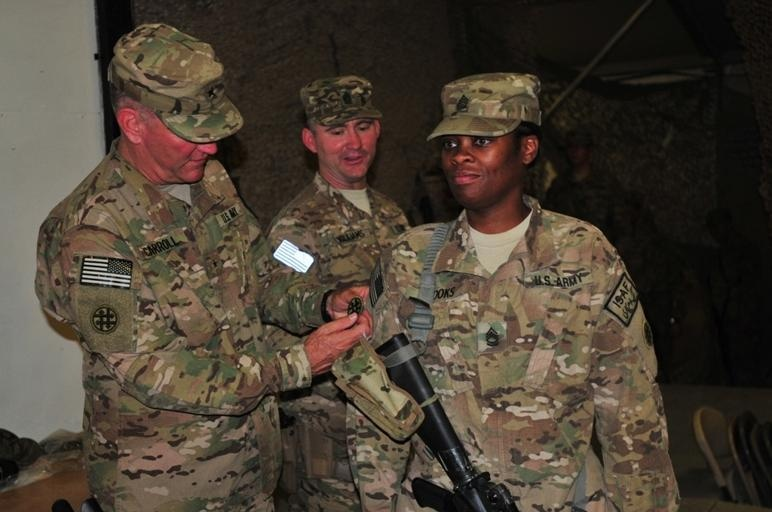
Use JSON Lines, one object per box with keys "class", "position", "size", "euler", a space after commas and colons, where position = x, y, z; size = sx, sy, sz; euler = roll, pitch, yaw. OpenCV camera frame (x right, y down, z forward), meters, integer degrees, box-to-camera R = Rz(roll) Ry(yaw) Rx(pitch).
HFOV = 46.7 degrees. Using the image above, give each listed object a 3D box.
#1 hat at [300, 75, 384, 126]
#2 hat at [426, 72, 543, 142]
{"class": "hat", "position": [-0.276, -0.933, 5.321], "size": [0.335, 0.188, 0.405], "euler": [-5, 2, -14]}
{"class": "hat", "position": [0.515, -0.713, 4.245], "size": [0.339, 0.202, 0.454], "euler": [-1, 6, 38]}
